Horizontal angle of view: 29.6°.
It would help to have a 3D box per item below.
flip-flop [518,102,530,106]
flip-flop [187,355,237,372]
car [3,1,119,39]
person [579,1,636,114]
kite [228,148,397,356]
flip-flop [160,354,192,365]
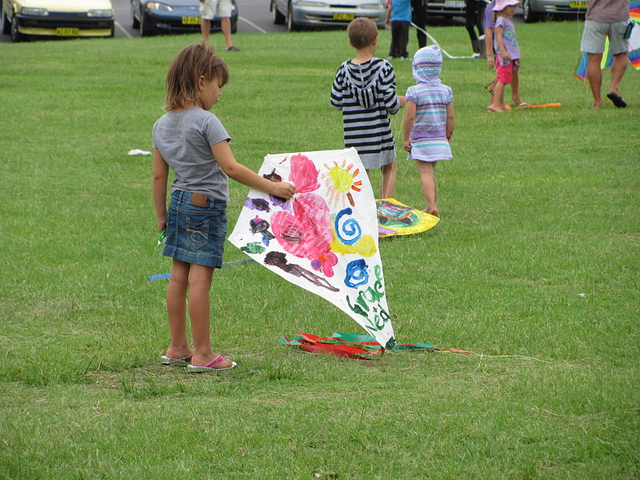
[{"bbox_3d":[2.917,-1.946,17.444,0.148,0.046,0.055,-1,7,8],"label":"flip-flop"},{"bbox_3d":[-0.910,1.032,10.279,0.360,0.123,0.145,-1,2,-13],"label":"flip-flop"},{"bbox_3d":[-4.760,-4.066,22.442,1.913,0.722,1.154,-3,14,-11],"label":"car"},{"bbox_3d":[4.045,-2.583,17.076,0.788,1.513,0.736,-2,13,-9],"label":"person"},{"bbox_3d":[0.072,0.102,10.608,1.314,1.964,0.348,-31,23,10],"label":"kite"},{"bbox_3d":[-1.220,1.029,10.359,0.262,0.103,0.098,0,4,-12],"label":"flip-flop"}]
